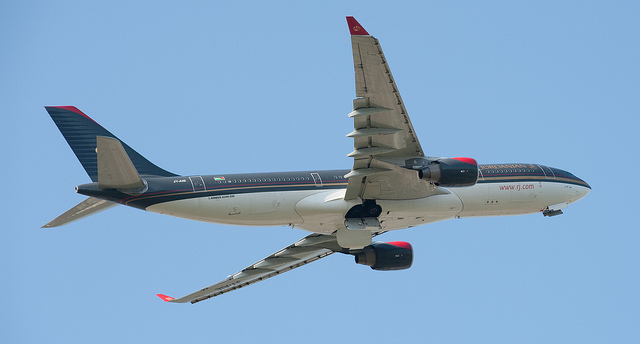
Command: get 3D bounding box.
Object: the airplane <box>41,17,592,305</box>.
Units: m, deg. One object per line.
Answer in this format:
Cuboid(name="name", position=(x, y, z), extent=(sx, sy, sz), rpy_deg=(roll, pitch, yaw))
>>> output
Cuboid(name="airplane", position=(0.299, 0.924, 43.613), extent=(25.869, 5.724, 19.217), rpy_deg=(5, -45, -27))
